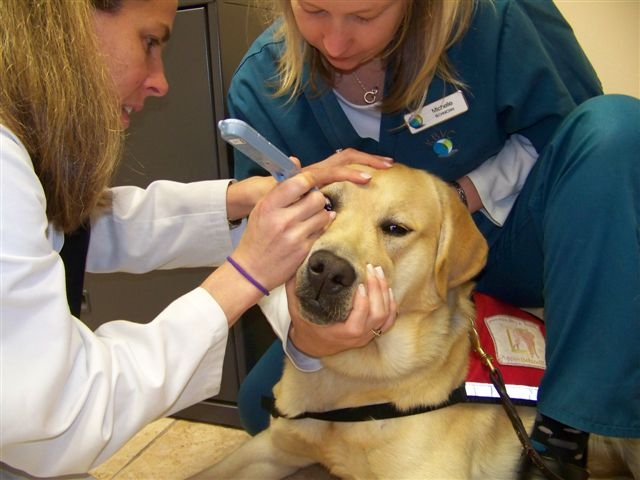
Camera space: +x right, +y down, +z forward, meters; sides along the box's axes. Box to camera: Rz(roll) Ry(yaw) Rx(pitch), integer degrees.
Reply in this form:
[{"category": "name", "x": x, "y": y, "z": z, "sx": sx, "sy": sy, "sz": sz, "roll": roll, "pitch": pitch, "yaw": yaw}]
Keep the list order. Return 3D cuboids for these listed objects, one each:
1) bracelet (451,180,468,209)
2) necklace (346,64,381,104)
[{"category": "bracelet", "x": 0.586, "y": -0.199, "z": 2.341, "sx": 0.024, "sy": 0.090, "sz": 0.096, "roll": -28, "pitch": 68, "yaw": 8}, {"category": "necklace", "x": 0.195, "y": -0.662, "z": 2.383, "sx": 0.072, "sy": 0.026, "sz": 0.154, "roll": -31, "pitch": 81, "yaw": -6}]
